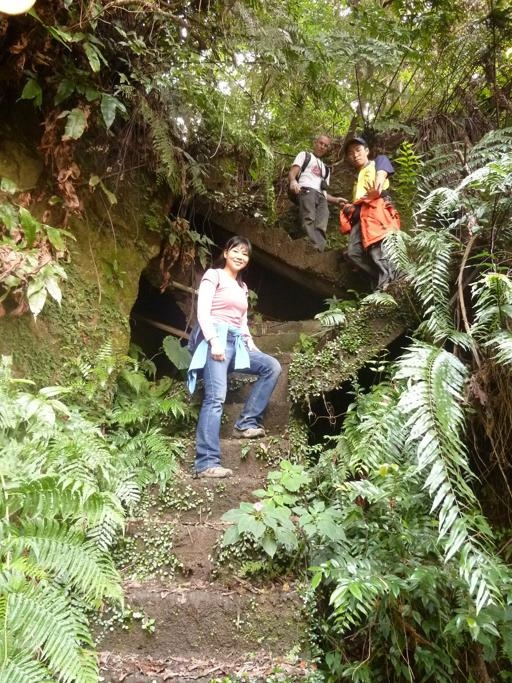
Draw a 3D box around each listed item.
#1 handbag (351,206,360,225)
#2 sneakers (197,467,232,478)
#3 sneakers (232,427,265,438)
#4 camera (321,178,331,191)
[{"bbox_3d":[0.906,-1.152,5.743,0.091,0.111,0.069,1,2,-2],"label":"handbag"},{"bbox_3d":[-0.282,0.884,4.196,0.214,0.090,0.083,-7,-27,15],"label":"sneakers"},{"bbox_3d":[-0.057,0.675,4.609,0.222,0.102,0.082,-13,-20,30],"label":"sneakers"},{"bbox_3d":[0.713,-1.650,6.588,0.086,0.110,0.030,-1,-5,-14],"label":"camera"}]
